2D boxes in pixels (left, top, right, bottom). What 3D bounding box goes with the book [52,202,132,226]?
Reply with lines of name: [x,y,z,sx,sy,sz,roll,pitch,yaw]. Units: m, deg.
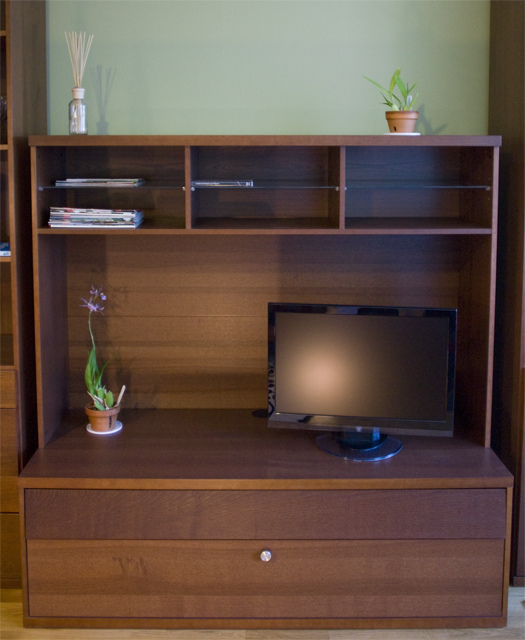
book: [-0.554,-0.344,2.296,0.257,0.055,0.101,-1,15,-7]

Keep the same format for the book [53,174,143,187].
book: [-0.561,-0.485,2.405,0.299,0.029,0.350,-2,14,-10]

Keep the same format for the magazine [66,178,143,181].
magazine: [-0.525,-0.469,2.320,0.228,0.005,0.073,2,14,8]

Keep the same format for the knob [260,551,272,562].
knob: [0.013,0.727,2.154,0.037,0.045,0.023,-1,15,-4]

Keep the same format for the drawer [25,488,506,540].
drawer: [0.014,0.613,2.239,1.478,0.224,0.234,0,5,-1]

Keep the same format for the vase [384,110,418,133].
vase: [0.457,-0.659,2.299,0.088,0.049,0.085,4,12,19]

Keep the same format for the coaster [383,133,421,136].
coaster: [0.460,-0.604,2.258,0.099,0.009,0.103,4,15,14]

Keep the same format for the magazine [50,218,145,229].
magazine: [-0.551,-0.314,2.290,0.280,0.014,0.067,0,14,-2]

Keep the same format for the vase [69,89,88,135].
vase: [-0.605,-0.689,2.297,0.058,0.146,0.136,-4,15,-14]

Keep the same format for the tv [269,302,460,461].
tv: [0.329,0.193,2.308,0.530,0.383,0.195,2,7,7]

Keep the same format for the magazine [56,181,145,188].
magazine: [-0.531,-0.443,2.287,0.272,0.018,0.104,-3,15,-13]

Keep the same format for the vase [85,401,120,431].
vase: [-0.561,0.335,2.471,0.110,0.083,0.106,-2,15,-10]
